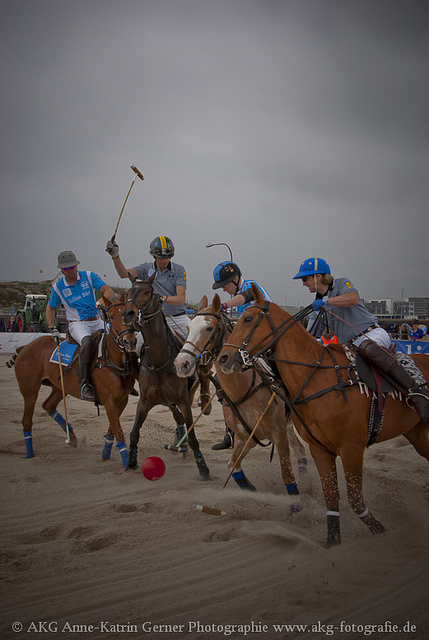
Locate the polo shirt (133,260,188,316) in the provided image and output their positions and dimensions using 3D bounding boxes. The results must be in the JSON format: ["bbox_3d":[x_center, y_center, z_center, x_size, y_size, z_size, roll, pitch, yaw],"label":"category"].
[{"bbox_3d":[-0.727,-0.439,6.430,0.843,0.868,0.519,-6,12,-20],"label":"polo shirt"}]

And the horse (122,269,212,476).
[{"bbox_3d":[-0.604,0.914,6.972,1.049,2.421,3.446,-6,-14,7],"label":"horse"}]

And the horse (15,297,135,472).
[{"bbox_3d":[-1.993,0.966,7.332,3.492,2.328,0.767,-5,-3,42],"label":"horse"}]

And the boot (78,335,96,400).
[{"bbox_3d":[-1.777,0.664,6.877,0.245,0.894,0.326,-1,2,-16],"label":"boot"}]

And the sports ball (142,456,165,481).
[{"bbox_3d":[-0.611,1.467,4.892,0.207,0.249,0.132,-1,1,-15],"label":"sports ball"}]

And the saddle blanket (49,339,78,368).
[{"bbox_3d":[-2.211,0.496,7.275,0.442,0.454,0.158,-2,-39,21],"label":"saddle blanket"}]

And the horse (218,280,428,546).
[{"bbox_3d":[0.949,0.827,4.203,1.807,2.249,0.689,0,1,0],"label":"horse"}]

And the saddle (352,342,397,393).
[{"bbox_3d":[1.308,0.409,4.210,0.324,0.362,0.311,-6,13,-17],"label":"saddle"}]
